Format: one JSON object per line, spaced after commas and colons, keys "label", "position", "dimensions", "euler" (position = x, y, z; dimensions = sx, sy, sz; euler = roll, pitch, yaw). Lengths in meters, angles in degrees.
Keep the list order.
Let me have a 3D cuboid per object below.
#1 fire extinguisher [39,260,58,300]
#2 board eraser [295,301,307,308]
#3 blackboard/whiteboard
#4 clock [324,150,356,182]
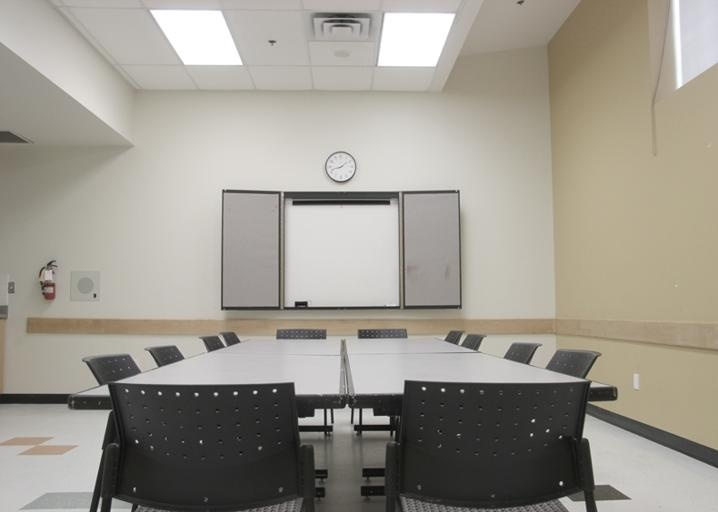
{"label": "fire extinguisher", "position": [-3.980, 0.310, 6.278], "dimensions": [0.210, 0.517, 0.181], "euler": [1, 2, -11]}
{"label": "board eraser", "position": [-0.739, 0.616, 6.325], "dimensions": [0.105, 0.078, 0.025], "euler": [3, -8, -2]}
{"label": "blackboard/whiteboard", "position": [-0.229, -0.091, 6.373], "dimensions": [3.078, 1.572, 0.248], "euler": [1, 2, -1]}
{"label": "clock", "position": [-0.252, -1.169, 6.526], "dimensions": [0.364, 0.407, 0.050], "euler": [-1, -4, 4]}
